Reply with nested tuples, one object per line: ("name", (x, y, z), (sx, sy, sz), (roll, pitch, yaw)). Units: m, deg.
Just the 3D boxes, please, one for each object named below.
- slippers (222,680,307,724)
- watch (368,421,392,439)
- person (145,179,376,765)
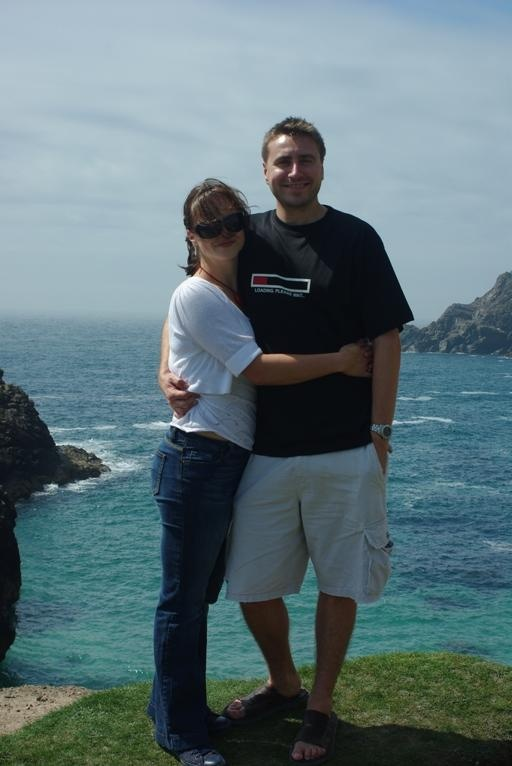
("slippers", (0.066, 1.930, 5.266), (0.541, 0.170, 0.179), (-1, 5, -16))
("watch", (0.694, 0.264, 4.786), (0.130, 0.068, 0.108), (17, -14, -21))
("person", (-0.271, 0.488, 4.780), (0.729, 3.199, 0.955), (-2, 11, -44))
